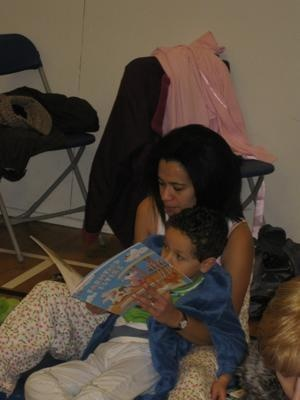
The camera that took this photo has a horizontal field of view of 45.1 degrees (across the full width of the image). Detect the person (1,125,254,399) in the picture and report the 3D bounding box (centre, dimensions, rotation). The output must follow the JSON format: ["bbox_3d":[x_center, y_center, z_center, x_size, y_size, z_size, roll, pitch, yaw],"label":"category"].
[{"bbox_3d":[-0.125,0.135,1.270,0.682,0.861,0.851,8,7,38],"label":"person"}]

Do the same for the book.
[{"bbox_3d":[-0.101,0.117,0.840,0.319,0.220,0.125,0,56,-32],"label":"book"}]

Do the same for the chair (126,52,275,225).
[{"bbox_3d":[0.343,-0.260,1.991,0.531,0.987,0.550,22,31,38],"label":"chair"}]
